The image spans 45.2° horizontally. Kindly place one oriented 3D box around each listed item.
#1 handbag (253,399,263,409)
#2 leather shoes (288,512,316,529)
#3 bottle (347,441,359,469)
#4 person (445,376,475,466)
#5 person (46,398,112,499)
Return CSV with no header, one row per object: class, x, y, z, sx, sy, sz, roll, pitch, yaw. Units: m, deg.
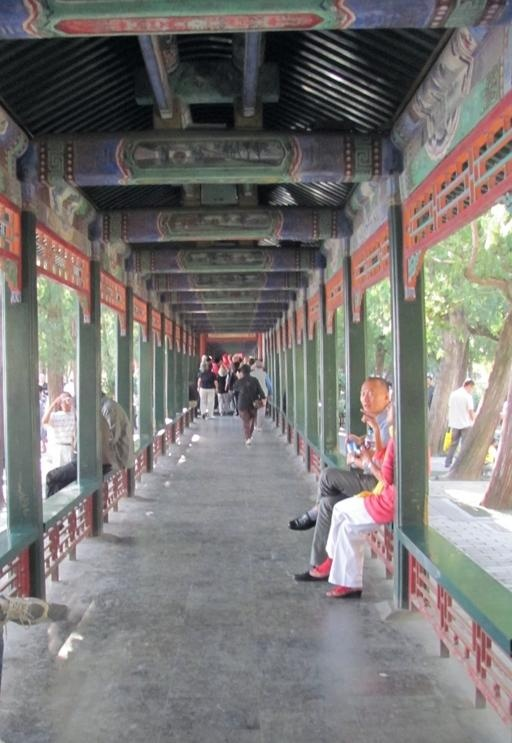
handbag,0.021,0.617,11.966,0.131,0.099,0.225,-2,-9,-9
leather shoes,0.331,1.077,4.348,0.156,0.094,0.124,-16,45,3
bottle,0.584,0.491,3.670,0.048,0.183,0.083,3,-5,-1
person,2.827,0.755,8.563,0.383,0.922,1.013,0,0,18
person,-1.527,0.656,5.410,0.626,0.900,0.538,0,0,-41
